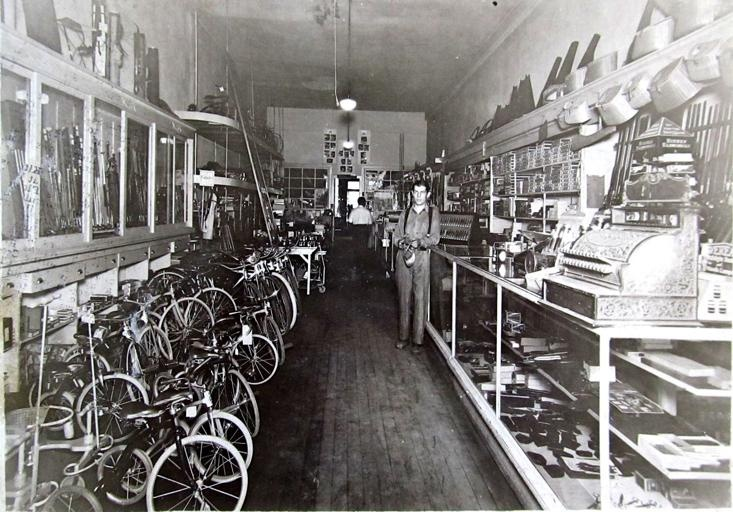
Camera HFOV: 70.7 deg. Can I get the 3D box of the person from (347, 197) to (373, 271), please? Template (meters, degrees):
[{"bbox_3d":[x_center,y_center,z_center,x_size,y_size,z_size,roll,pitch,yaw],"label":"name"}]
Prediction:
[{"bbox_3d":[-0.114,-0.745,12.722,0.595,1.420,1.824,-1,12,0],"label":"person"}]
